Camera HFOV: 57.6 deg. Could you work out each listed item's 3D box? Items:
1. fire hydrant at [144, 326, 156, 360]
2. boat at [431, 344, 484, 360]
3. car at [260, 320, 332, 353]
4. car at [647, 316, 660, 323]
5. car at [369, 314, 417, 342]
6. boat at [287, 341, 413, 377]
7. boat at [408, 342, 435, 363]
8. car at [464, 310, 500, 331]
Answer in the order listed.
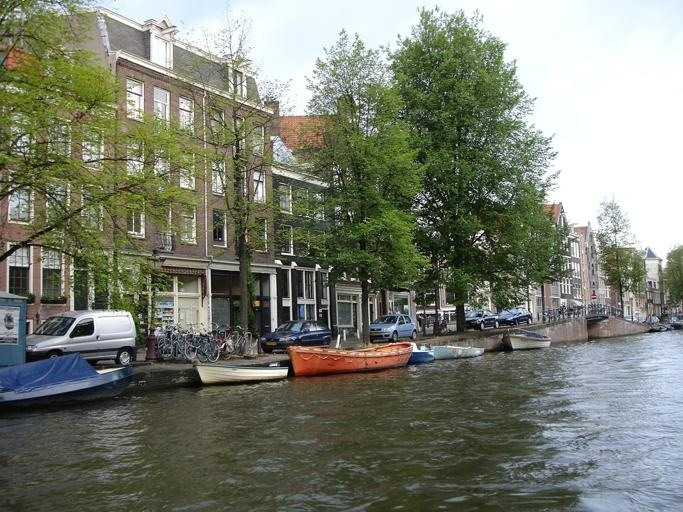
[{"bbox_3d":[-7.364,3.352,23.906,0.377,1.307,0.715,-1,-9,-18],"label":"fire hydrant"},{"bbox_3d":[6.369,5.222,33.994,3.717,0.537,1.053,5,-6,-39],"label":"boat"},{"bbox_3d":[-2.112,3.797,30.026,1.517,0.871,3.035,-8,-12,36],"label":"car"},{"bbox_3d":[42.807,8.802,85.417,2.039,0.813,2.660,2,2,30],"label":"car"},{"bbox_3d":[2.750,4.250,36.088,1.601,0.897,2.542,-7,-12,32],"label":"car"},{"bbox_3d":[0.420,4.302,26.051,5.685,1.197,0.783,4,-12,-41],"label":"boat"},{"bbox_3d":[3.911,4.881,30.812,0.972,0.504,1.641,-2,-3,32],"label":"boat"},{"bbox_3d":[10.929,4.929,48.360,1.521,0.840,3.261,-8,-11,40],"label":"car"}]
